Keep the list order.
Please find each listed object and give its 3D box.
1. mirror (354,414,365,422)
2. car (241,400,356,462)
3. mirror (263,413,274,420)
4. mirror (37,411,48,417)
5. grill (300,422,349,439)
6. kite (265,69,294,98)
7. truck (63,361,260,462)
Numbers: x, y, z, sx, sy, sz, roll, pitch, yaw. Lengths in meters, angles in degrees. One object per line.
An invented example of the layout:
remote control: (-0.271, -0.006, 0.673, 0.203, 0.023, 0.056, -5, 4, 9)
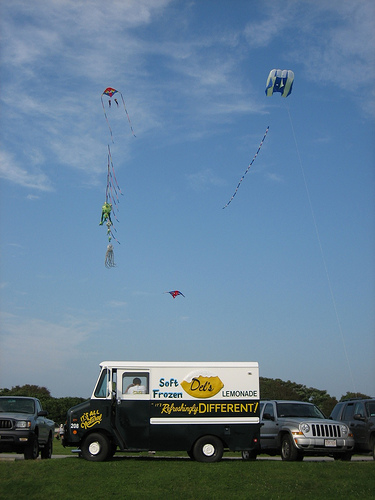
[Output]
mirror: (4.929, 4.775, 17.858, 0.282, 0.205, 0.426, 2, -11, -2)
car: (3.131, 5.170, 17.766, 1.616, 1.220, 2.770, 11, -30, -21)
mirror: (2.334, 4.794, 18.074, 0.254, 0.103, 0.186, 7, -8, 15)
mirror: (-4.119, 4.590, 17.635, 0.200, 0.150, 0.131, -2, -1, -6)
grill: (3.692, 4.805, 16.704, 1.366, 0.406, 0.303, 2, -12, -5)
kite: (3.564, -6.406, 24.088, 0.867, 0.716, 1.121, 2, -11, -5)
truck: (-0.601, 4.437, 17.291, 5.310, 2.601, 2.132, -2, -13, 9)
